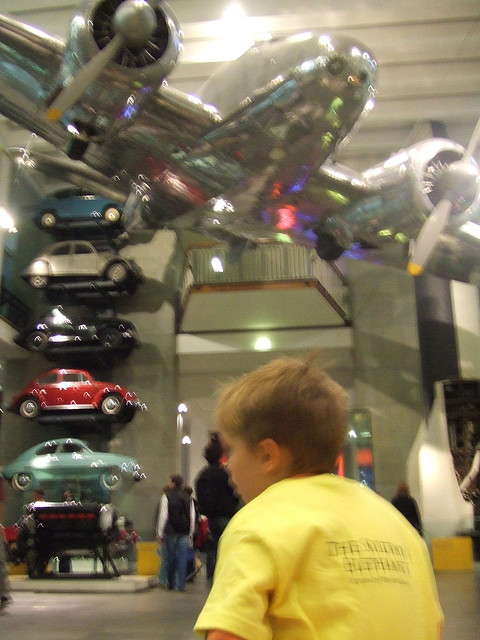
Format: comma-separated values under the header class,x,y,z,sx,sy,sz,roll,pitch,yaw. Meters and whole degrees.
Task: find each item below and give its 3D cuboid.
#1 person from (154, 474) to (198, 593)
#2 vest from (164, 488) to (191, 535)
class,x,y,z,sx,sy,sz,roll,pitch,yaw
person,-0.447,1.481,4.625,0.275,0.653,0.630,0,-14,-4
vest,-0.438,1.393,4.760,0.098,0.326,0.248,-13,-19,37
